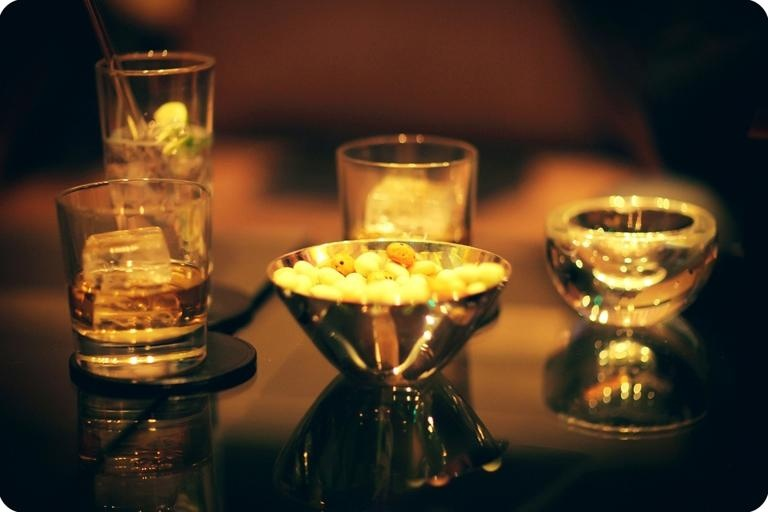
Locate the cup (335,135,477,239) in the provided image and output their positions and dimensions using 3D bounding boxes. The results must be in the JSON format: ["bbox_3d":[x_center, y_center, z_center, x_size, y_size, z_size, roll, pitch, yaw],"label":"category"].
[{"bbox_3d":[0.031,-0.072,1.008,0.175,0.153,0.165,1,4,0],"label":"cup"}]

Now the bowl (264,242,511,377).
[{"bbox_3d":[0.029,0.058,0.833,0.313,0.139,0.196,-4,15,-15],"label":"bowl"}]

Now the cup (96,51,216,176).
[{"bbox_3d":[-0.282,-0.168,0.926,0.141,0.154,0.100,-5,17,-16],"label":"cup"}]

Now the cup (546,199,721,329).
[{"bbox_3d":[0.301,0.014,0.918,0.204,0.106,0.192,-3,16,1],"label":"cup"}]
